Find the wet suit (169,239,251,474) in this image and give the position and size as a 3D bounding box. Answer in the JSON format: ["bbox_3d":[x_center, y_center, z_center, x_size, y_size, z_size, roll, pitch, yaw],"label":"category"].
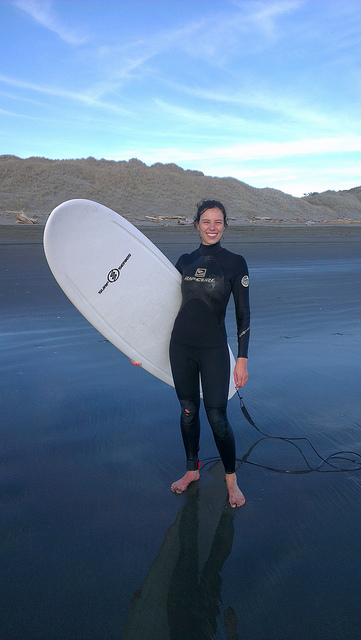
[{"bbox_3d":[0.134,0.210,2.274,0.396,1.162,0.329,6,14,22],"label":"wet suit"}]

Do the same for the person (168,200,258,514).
[{"bbox_3d":[0.146,0.157,2.229,0.393,1.415,0.563,1,13,0],"label":"person"}]

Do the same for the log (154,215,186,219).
[{"bbox_3d":[-0.664,-6.444,29.058,2.341,0.137,0.600,2,19,3],"label":"log"}]

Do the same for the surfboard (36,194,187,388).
[{"bbox_3d":[-0.358,-0.145,2.583,0.732,1.001,0.435,-3,14,-17],"label":"surfboard"}]
